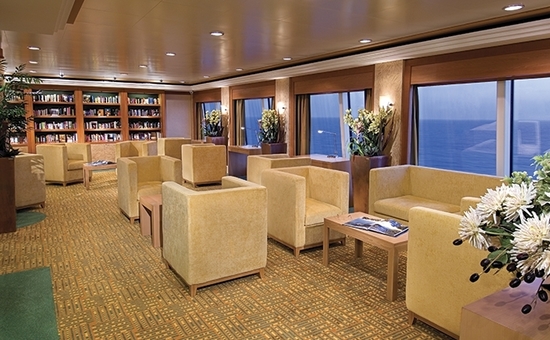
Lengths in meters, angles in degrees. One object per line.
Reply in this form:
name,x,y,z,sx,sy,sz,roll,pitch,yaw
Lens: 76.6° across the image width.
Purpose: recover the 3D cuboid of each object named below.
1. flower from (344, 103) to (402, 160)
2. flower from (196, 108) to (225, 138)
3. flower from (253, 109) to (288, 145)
flower,2.089,-0.866,8.233,1.143,1.354,1.422,-6,10,-30
flower,-2.768,-1.909,14.515,0.664,1.202,2.744,-5,10,-25
flower,-0.042,-1.440,11.238,1.086,1.515,1.073,-3,9,-18
